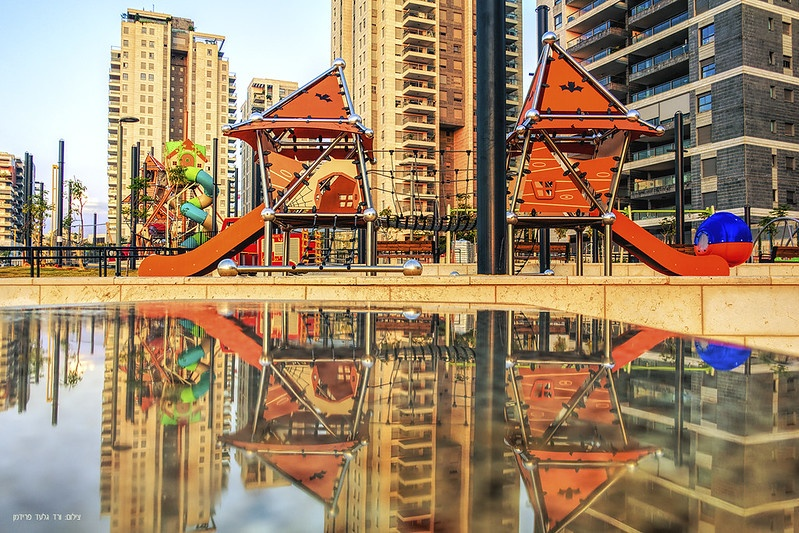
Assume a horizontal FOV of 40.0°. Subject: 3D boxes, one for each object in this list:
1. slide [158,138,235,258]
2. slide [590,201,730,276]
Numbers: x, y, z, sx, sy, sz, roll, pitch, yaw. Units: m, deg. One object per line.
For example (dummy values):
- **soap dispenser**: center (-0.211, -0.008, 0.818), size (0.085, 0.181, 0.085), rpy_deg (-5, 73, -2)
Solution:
- **slide**: center (-21.579, -8.281, 113.283), size (5.343, 9.682, 4.358), rpy_deg (-4, 4, -18)
- **slide**: center (20.065, -1.407, 82.184), size (8.839, 4.997, 2.130), rpy_deg (0, -14, 19)
